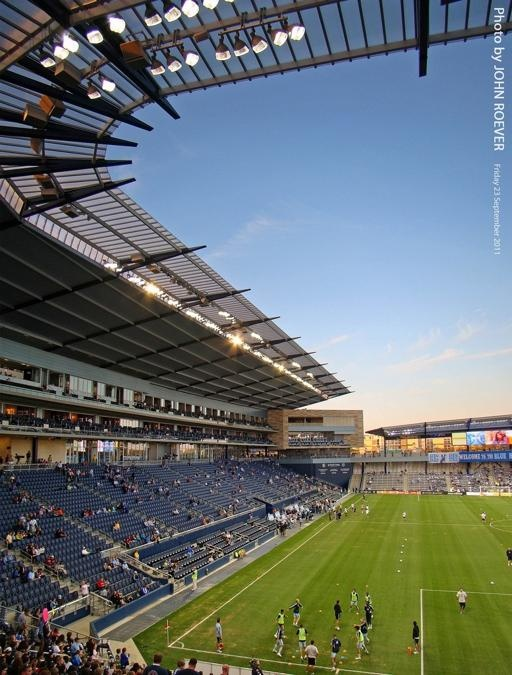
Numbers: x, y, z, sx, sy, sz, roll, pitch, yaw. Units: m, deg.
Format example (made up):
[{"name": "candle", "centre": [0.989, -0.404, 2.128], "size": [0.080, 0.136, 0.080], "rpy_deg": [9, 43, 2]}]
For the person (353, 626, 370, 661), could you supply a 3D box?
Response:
[{"name": "person", "centre": [3.986, 11.398, 18.280], "size": [0.467, 0.997, 1.481], "rpy_deg": [-3, -9, 10]}]

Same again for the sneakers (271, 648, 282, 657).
[{"name": "sneakers", "centre": [0.809, 12.003, 18.465], "size": [0.128, 0.240, 0.345], "rpy_deg": [6, -25, -15]}]

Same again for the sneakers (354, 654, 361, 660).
[{"name": "sneakers", "centre": [3.731, 11.665, 17.711], "size": [0.286, 0.180, 0.099], "rpy_deg": [-12, -27, 25]}]

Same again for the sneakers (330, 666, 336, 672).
[{"name": "sneakers", "centre": [2.678, 11.461, 16.790], "size": [0.150, 0.062, 0.187], "rpy_deg": [-5, -7, 29]}]
